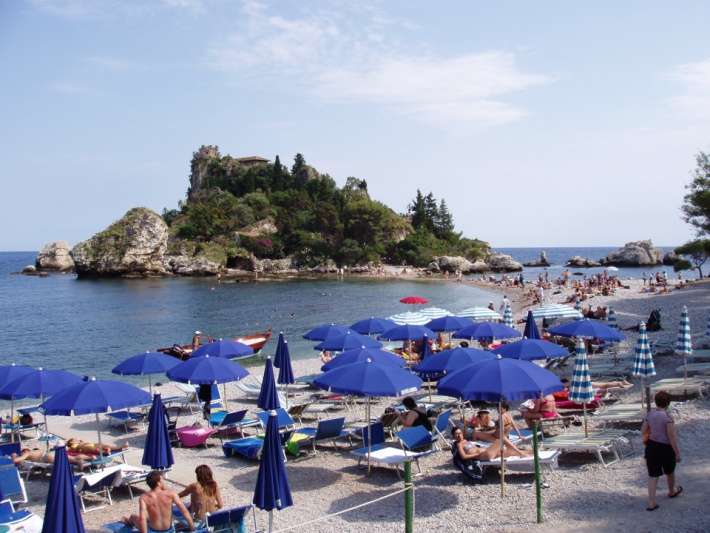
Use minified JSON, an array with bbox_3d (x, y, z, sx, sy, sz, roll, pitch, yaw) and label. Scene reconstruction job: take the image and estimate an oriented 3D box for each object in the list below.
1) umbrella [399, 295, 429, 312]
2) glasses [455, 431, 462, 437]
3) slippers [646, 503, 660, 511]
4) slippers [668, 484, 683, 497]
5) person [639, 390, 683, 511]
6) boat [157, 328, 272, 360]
[{"bbox_3d":[3.317,2.227,50.710,1.395,1.202,1.363,-3,8,-25],"label":"umbrella"},{"bbox_3d":[2.365,3.857,20.077,0.123,0.160,0.152,-15,39,-2],"label":"glasses"},{"bbox_3d":[6.188,5.020,18.027,0.273,0.105,0.129,-2,-2,-4],"label":"slippers"},{"bbox_3d":[6.752,4.769,18.344,0.347,0.091,0.141,-30,14,-36],"label":"slippers"},{"bbox_3d":[6.402,3.853,18.223,0.720,2.050,0.676,-3,-1,17],"label":"person"},{"bbox_3d":[-6.066,3.342,37.320,3.990,1.144,1.519,-4,15,-24],"label":"boat"}]
